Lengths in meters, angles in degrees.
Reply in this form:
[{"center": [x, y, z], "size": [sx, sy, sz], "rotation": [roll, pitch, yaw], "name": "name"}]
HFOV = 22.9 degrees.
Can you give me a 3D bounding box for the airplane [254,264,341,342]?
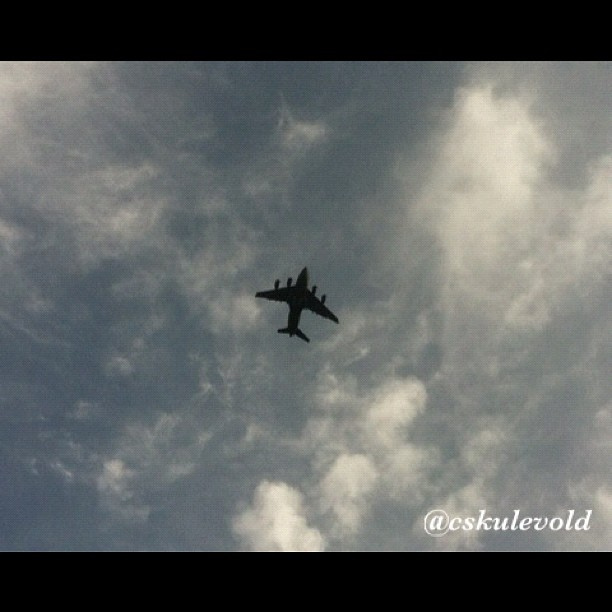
[{"center": [-0.554, 0.165, 88.179], "size": [5.358, 1.576, 4.869], "rotation": [18, -55, 5], "name": "airplane"}]
